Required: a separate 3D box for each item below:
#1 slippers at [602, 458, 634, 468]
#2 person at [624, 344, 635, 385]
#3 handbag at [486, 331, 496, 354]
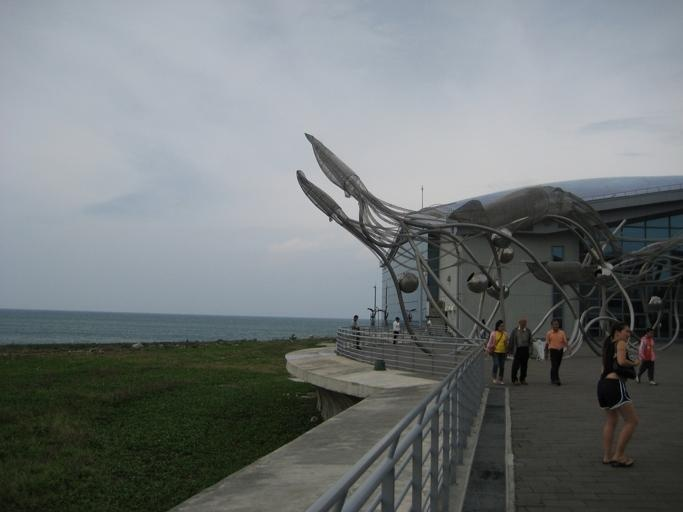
[{"bbox_3d":[4.194,3.173,8.405,0.386,0.150,0.160,-3,-9,5],"label":"slippers"},{"bbox_3d":[4.360,1.676,8.490,0.191,0.579,1.021,-5,-6,26],"label":"person"},{"bbox_3d":[4.182,2.485,15.827,0.287,0.562,0.424,7,1,21],"label":"handbag"}]
